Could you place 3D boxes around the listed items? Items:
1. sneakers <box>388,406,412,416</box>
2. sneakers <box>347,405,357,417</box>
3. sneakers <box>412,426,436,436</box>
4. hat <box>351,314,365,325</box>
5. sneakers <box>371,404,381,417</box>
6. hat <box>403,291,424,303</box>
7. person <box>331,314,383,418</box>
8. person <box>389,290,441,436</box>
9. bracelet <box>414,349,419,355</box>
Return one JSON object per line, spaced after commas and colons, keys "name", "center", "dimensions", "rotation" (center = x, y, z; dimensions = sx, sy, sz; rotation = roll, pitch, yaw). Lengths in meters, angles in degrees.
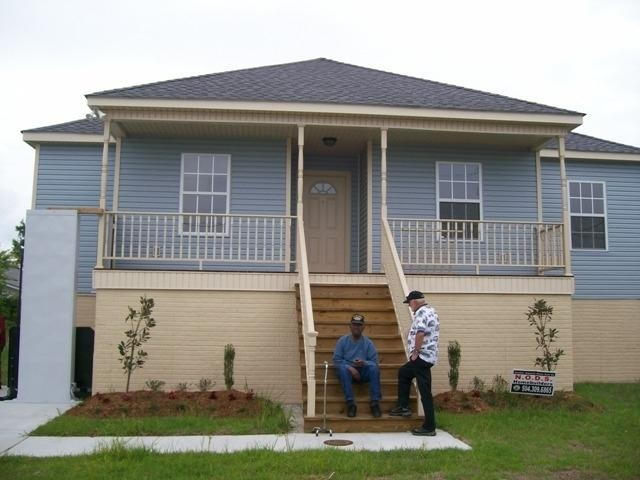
{"name": "sneakers", "center": [1.382, 2.945, 11.086], "dimensions": [0.351, 0.169, 0.137], "rotation": [5, -14, 1]}
{"name": "sneakers", "center": [0.546, 2.909, 11.048], "dimensions": [0.183, 0.205, 0.292], "rotation": [-1, -7, 3]}
{"name": "sneakers", "center": [1.723, 3.155, 10.693], "dimensions": [0.387, 0.152, 0.135], "rotation": [3, -13, 4]}
{"name": "hat", "center": [0.684, 1.440, 11.635], "dimensions": [0.241, 0.112, 0.331], "rotation": [3, -5, 8]}
{"name": "sneakers", "center": [0.963, 2.908, 11.038], "dimensions": [0.156, 0.196, 0.220], "rotation": [0, -8, 3]}
{"name": "hat", "center": [1.586, 0.975, 11.043], "dimensions": [0.327, 0.166, 0.207], "rotation": [-4, 0, 20]}
{"name": "person", "center": [0.643, 2.179, 11.235], "dimensions": [0.809, 1.693, 0.445], "rotation": [0, -8, 0]}
{"name": "person", "center": [1.653, 2.060, 10.933], "dimensions": [0.414, 2.366, 0.694], "rotation": [4, -9, -28]}
{"name": "bracelet", "center": [1.606, 1.865, 10.675], "dimensions": [0.066, 0.039, 0.082], "rotation": [3, 4, 2]}
